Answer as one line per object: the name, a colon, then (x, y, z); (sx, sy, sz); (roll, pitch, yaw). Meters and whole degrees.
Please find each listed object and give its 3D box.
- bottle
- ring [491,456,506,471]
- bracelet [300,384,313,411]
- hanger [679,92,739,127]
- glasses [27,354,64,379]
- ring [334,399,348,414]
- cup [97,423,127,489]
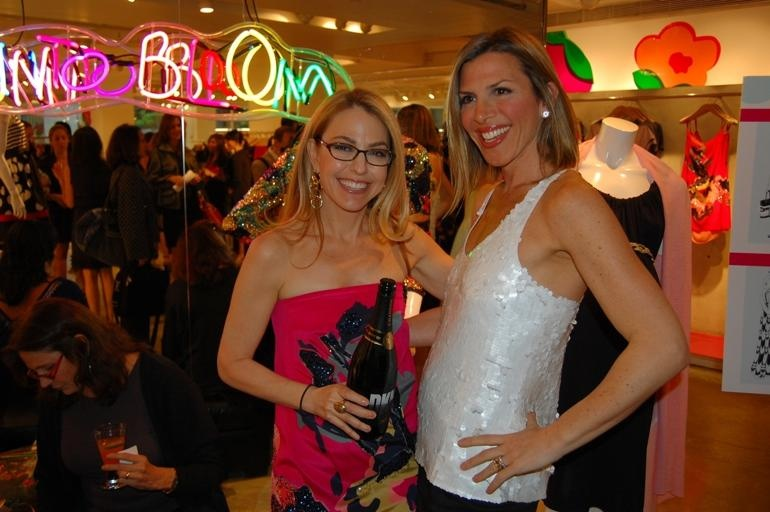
bottle: (-0.045, 0.376, 2.125); (0.181, 0.619, 0.221); (0, 7, 0)
ring: (0.363, 0.659, 1.829); (0.041, 0.042, 0.014); (5, 8, 30)
bracelet: (-0.291, 0.514, 2.087); (0.017, 0.075, 0.075); (9, -10, 13)
hanger: (3.473, -1.569, 6.149); (0.045, 0.351, 0.594); (8, -4, -36)
glasses: (-1.537, 0.526, 2.645); (0.120, 0.040, 0.130); (-6, 15, -5)
ring: (-0.150, 0.529, 2.019); (0.040, 0.042, 0.015); (1, 7, 2)
cup: (-1.248, 0.933, 2.653); (0.124, 0.333, 0.152); (-3, 8, -26)
